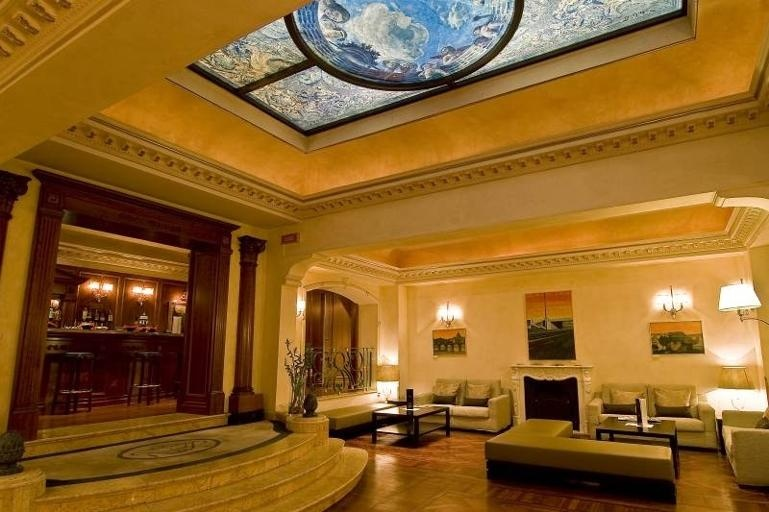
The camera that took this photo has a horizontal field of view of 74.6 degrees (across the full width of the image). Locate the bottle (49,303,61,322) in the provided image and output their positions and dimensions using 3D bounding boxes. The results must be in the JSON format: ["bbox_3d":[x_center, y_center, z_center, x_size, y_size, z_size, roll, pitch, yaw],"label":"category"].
[{"bbox_3d":[-7.259,1.249,11.086,0.231,0.395,0.153,8,0,-39],"label":"bottle"}]

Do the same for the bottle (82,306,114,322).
[{"bbox_3d":[-6.633,1.365,11.618,0.379,0.385,0.667,-3,-10,27],"label":"bottle"}]

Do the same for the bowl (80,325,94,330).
[{"bbox_3d":[-5.838,1.403,9.840,0.191,0.092,0.169,1,-5,-7],"label":"bowl"}]

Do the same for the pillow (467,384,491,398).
[{"bbox_3d":[2.189,3.091,11.472,0.366,0.212,0.112,-5,-47,23],"label":"pillow"}]

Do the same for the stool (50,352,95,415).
[{"bbox_3d":[-5.341,2.165,8.766,0.651,1.084,0.742,8,0,41],"label":"stool"}]

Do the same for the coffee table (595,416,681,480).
[{"bbox_3d":[4.374,3.208,8.439,1.150,0.602,1.146,-2,0,28],"label":"coffee table"}]

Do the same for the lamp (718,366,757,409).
[{"bbox_3d":[6.507,2.435,9.244,0.520,0.776,0.756,8,0,36],"label":"lamp"}]

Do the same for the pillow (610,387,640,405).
[{"bbox_3d":[4.806,2.793,9.971,0.646,0.394,0.219,0,-14,18],"label":"pillow"}]

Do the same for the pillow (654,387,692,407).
[{"bbox_3d":[5.558,2.716,9.637,0.454,0.408,0.152,-20,-63,22],"label":"pillow"}]

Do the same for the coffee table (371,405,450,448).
[{"bbox_3d":[0.440,3.380,10.229,1.030,0.534,1.470,-3,-9,31],"label":"coffee table"}]

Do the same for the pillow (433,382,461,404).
[{"bbox_3d":[1.468,3.218,11.830,0.594,0.487,0.164,5,-30,35],"label":"pillow"}]
